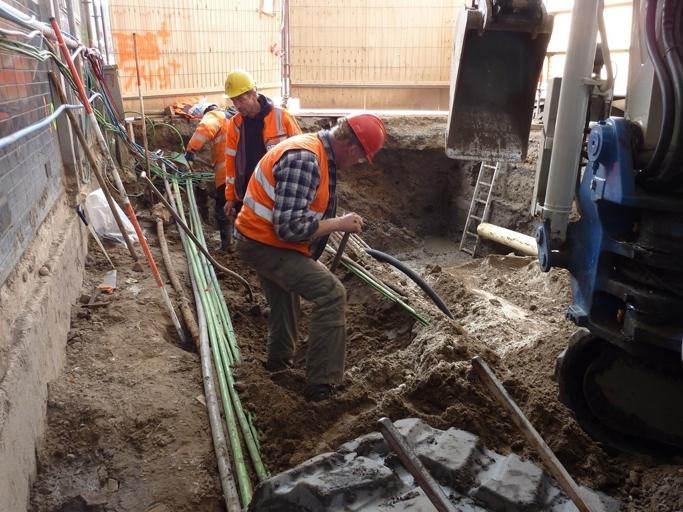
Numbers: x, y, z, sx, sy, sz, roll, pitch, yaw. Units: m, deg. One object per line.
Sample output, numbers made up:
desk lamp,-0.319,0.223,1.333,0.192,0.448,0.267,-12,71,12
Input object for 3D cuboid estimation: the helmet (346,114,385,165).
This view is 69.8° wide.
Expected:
helmet,0.160,-0.820,3.297,0.194,0.319,0.250,-35,20,8

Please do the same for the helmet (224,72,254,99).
helmet,-1.027,-1.745,4.942,0.249,0.178,0.318,6,30,11

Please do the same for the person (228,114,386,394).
person,-0.275,-0.045,3.406,0.872,1.803,0.810,11,24,24

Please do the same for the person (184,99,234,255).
person,-1.604,-0.948,6.077,0.608,1.739,0.734,-1,20,-18
